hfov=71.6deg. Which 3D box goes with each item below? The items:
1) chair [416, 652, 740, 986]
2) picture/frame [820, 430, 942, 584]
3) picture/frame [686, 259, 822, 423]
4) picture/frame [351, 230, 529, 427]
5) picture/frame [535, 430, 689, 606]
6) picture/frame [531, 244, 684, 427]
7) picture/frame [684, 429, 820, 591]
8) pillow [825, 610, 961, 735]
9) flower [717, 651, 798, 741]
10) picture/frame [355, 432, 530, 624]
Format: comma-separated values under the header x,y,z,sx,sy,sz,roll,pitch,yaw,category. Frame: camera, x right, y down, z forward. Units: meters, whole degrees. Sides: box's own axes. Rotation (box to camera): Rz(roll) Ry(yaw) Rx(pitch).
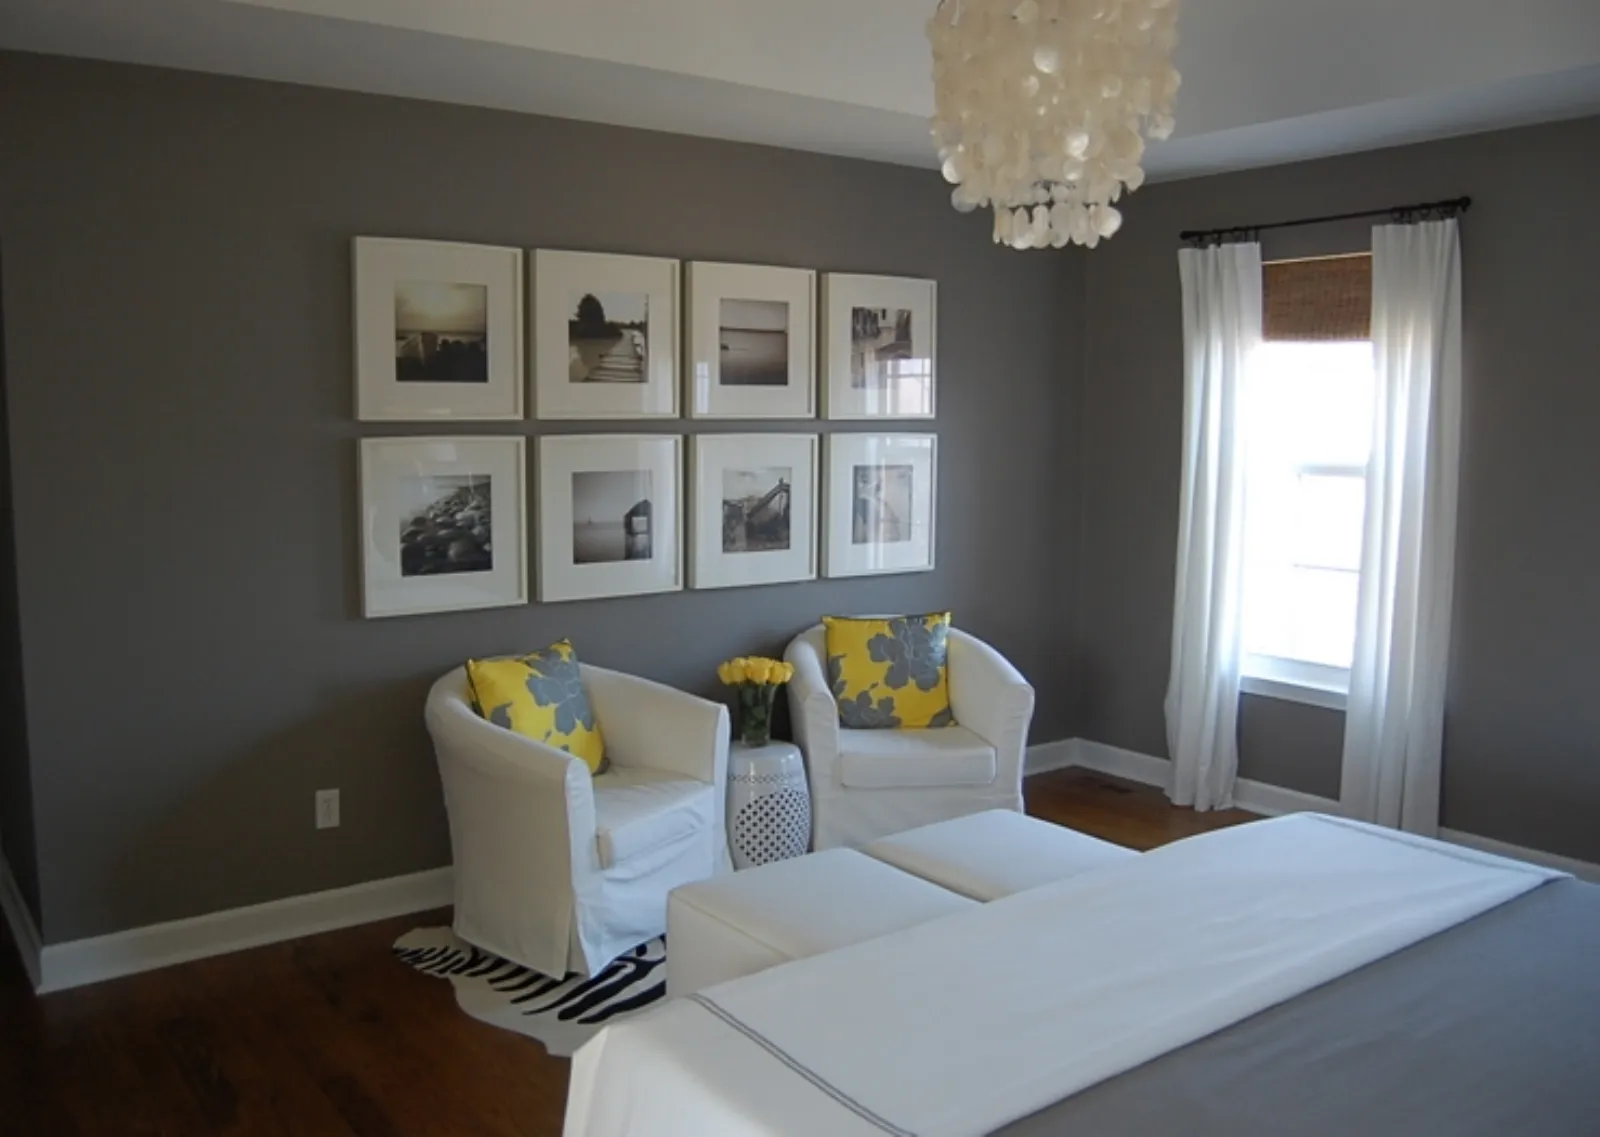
x,y,z,sx,sy,sz,roll,pitch,yaw,category
-0.892,0.789,4.338,0.998,1.069,1.050,2,5,37,chair
0.357,-0.314,5.344,0.673,0.735,0.072,-3,5,-39,picture/frame
-0.238,-1.027,4.912,0.670,0.728,0.049,-6,10,-36,picture/frame
-1.415,-0.939,4.255,0.699,0.827,0.034,-4,9,-34,picture/frame
-0.821,-0.229,4.649,0.640,0.760,0.055,-6,11,-32,picture/frame
-0.827,-0.980,4.576,0.692,0.759,0.051,-5,10,-32,picture/frame
-0.248,-0.281,4.983,0.670,0.750,0.053,-2,3,-36,picture/frame
0.404,0.493,4.992,0.430,0.426,0.166,-1,-6,-6,pillow
-0.177,0.524,4.830,0.343,0.402,0.369,0,-1,40,flower
-1.425,-0.177,4.321,0.677,0.802,0.028,-3,5,-33,picture/frame
